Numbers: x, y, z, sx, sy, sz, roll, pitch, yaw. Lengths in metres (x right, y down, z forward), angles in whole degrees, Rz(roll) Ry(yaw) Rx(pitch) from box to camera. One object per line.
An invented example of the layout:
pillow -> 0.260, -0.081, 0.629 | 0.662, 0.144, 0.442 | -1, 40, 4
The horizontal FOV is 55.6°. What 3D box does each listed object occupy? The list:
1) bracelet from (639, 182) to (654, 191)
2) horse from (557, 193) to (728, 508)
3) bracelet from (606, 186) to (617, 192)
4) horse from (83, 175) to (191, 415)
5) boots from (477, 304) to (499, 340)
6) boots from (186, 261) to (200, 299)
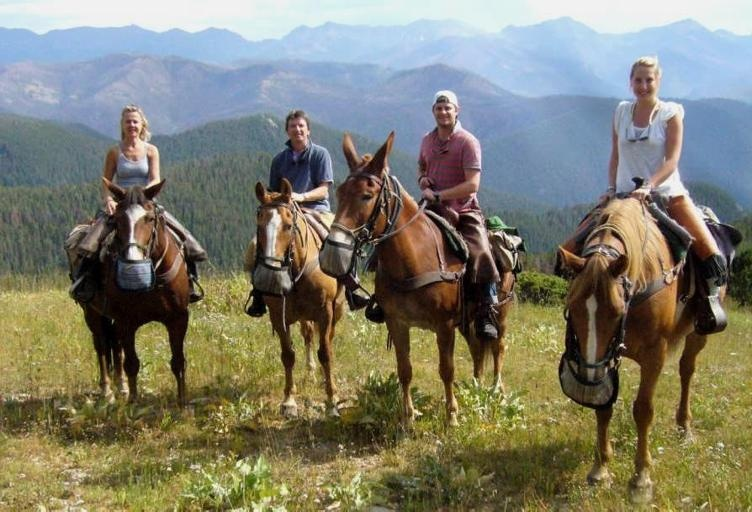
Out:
bracelet -> 4.284, -1.087, 11.302 | 0.140, 0.062, 0.170 | -6, 40, 14
horse -> 3.983, 1.300, 11.119 | 1.272, 4.382, 2.971 | 6, 9, 43
bracelet -> 3.994, -1.132, 12.075 | 0.120, 0.042, 0.133 | -6, 19, -19
horse -> -4.359, 0.701, 13.113 | 1.825, 4.219, 1.466 | 6, 9, 42
boots -> 1.950, 1.162, 12.544 | 0.341, 0.621, 0.477 | 9, -13, -39
boots -> -3.629, 0.474, 14.025 | 0.166, 0.754, 0.390 | -4, 5, 11
